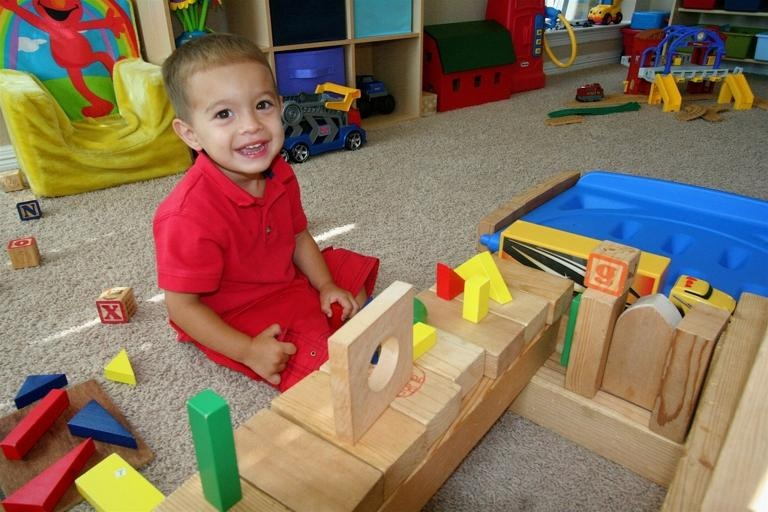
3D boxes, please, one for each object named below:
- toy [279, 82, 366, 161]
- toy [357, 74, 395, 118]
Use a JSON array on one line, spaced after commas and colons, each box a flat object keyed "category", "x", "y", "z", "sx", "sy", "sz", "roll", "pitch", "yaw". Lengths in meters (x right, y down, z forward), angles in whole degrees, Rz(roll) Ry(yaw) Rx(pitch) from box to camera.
[{"category": "toy", "x": -0.312, "y": -0.663, "z": 2.624, "sx": 0.552, "sy": 0.368, "sz": 0.295, "roll": -18, "pitch": 34, "yaw": -29}, {"category": "toy", "x": -0.048, "y": -1.012, "z": 3.377, "sx": 0.287, "sy": 0.268, "sz": 0.277, "roll": -4, "pitch": 16, "yaw": -17}]
